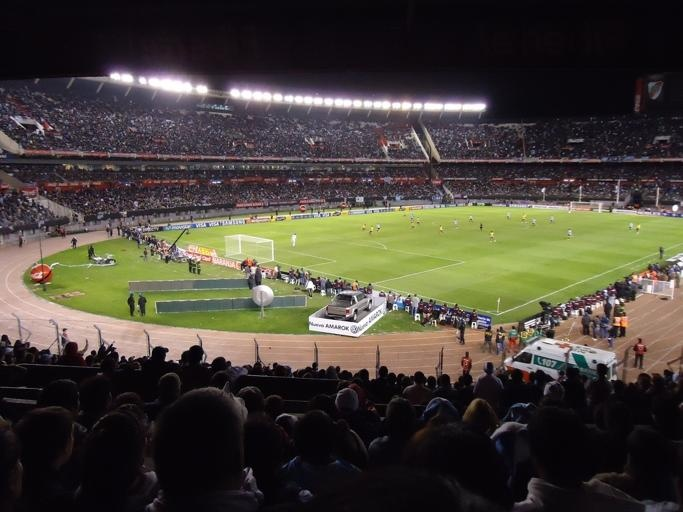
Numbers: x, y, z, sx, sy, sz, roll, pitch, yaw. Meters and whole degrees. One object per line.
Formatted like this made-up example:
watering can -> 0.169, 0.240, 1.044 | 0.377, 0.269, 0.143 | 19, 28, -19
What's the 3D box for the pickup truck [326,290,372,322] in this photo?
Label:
pickup truck -> 0.435, 2.482, 28.444 | 1.139, 0.745, 2.380 | 7, 15, 27
